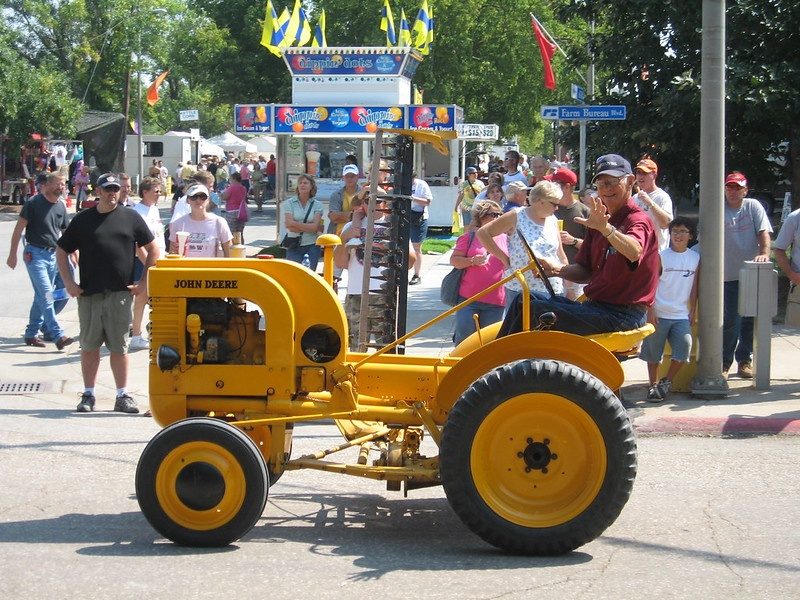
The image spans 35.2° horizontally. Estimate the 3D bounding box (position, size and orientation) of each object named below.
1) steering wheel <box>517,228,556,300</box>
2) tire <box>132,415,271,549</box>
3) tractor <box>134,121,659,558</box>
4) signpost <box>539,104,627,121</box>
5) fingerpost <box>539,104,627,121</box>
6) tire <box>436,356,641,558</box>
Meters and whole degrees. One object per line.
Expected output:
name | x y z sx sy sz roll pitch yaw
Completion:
steering wheel | 1.254 -0.352 11.666 0.102 0.661 0.694 -32 -19 4
tire | -1.604 1.497 10.149 1.103 0.926 0.358 9 -2 2
tractor | 0.044 0.753 11.639 4.857 3.186 2.426 1 2 5
signpost | 2.641 -2.685 18.027 1.093 0.126 0.213 1 -37 20
fingerpost | 2.641 -2.685 18.027 1.093 0.126 0.213 1 -37 20
tire | 1.073 1.264 10.041 1.863 1.507 0.521 2 0 2
